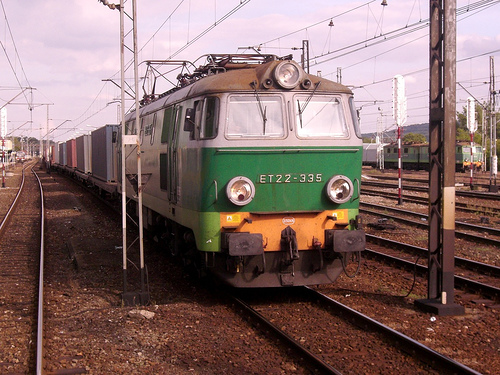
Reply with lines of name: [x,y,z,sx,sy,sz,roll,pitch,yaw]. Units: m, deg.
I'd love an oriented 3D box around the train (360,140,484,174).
train: [23.604,-4.168,55.186,2.519,4.068,15.570,1,4,-18]

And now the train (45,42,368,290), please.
train: [-0.207,-0.425,8.122,4.516,4.890,2.467,3,6,43]
